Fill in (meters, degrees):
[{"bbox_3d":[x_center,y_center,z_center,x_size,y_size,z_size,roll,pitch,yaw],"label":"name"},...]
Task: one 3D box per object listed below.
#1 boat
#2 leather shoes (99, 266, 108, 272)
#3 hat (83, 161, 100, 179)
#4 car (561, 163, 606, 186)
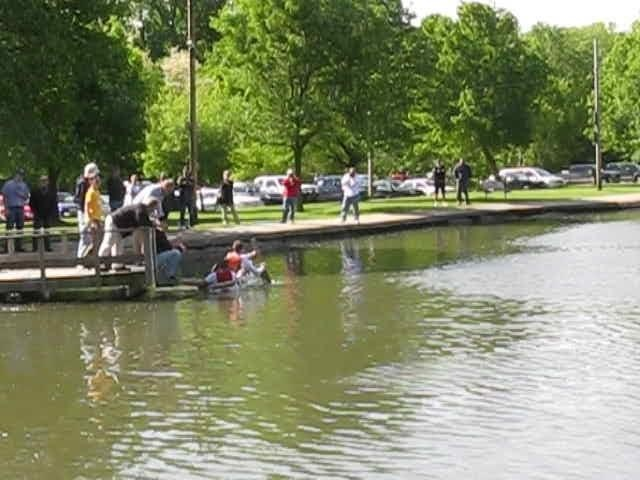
[{"bbox_3d":[-2.172,0.740,33.754,1.200,0.971,1.864,13,22,26],"label":"boat"},{"bbox_3d":[-5.681,0.694,32.938,0.214,0.146,0.154,-2,1,-10],"label":"leather shoes"},{"bbox_3d":[-6.030,-1.863,32.925,0.259,0.386,0.579,-3,2,-25],"label":"hat"},{"bbox_3d":[17.240,-4.475,81.836,3.319,1.107,1.632,0,3,-5],"label":"car"}]
